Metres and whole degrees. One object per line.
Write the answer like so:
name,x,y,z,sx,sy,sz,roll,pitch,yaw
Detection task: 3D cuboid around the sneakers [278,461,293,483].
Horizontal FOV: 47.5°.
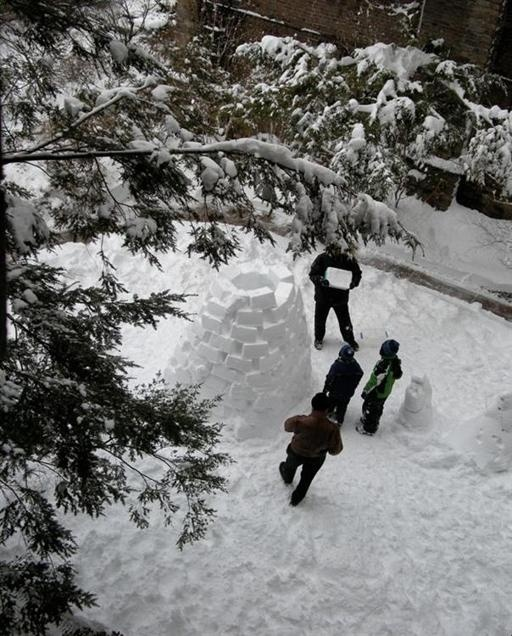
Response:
sneakers,0.315,1.651,6.185,0.122,0.270,0.277,-5,51,-4

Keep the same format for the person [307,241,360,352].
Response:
person,1.073,-0.300,7.911,0.675,1.594,0.587,1,24,9

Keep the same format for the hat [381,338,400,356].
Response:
hat,1.499,0.333,6.526,0.182,0.241,0.185,13,24,9

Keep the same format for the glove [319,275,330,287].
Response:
glove,0.917,-0.480,7.658,0.104,0.129,0.047,10,36,39

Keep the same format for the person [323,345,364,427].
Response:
person,0.980,0.758,6.767,0.407,1.062,0.346,7,31,-5
